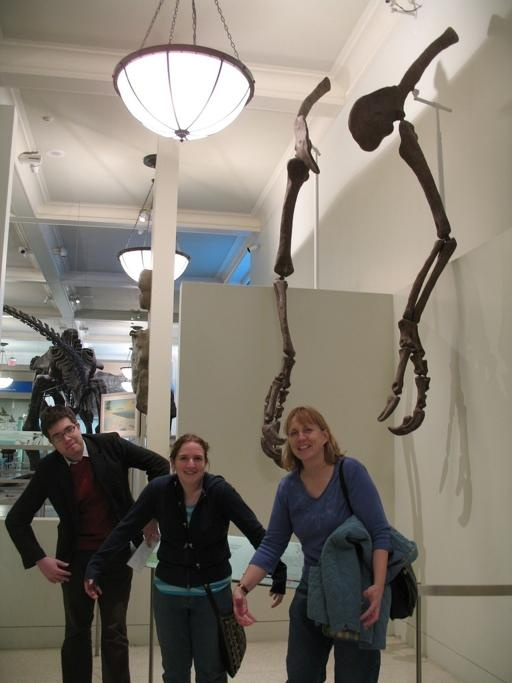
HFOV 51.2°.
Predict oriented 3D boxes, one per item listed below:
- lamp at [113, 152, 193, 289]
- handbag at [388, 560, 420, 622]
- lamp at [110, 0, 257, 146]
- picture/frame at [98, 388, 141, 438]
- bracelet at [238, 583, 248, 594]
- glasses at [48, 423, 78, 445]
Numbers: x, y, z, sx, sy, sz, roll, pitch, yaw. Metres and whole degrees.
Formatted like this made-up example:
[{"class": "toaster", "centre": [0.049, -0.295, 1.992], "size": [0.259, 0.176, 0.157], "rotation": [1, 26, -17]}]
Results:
[{"class": "lamp", "centre": [-1.480, -1.346, 7.575], "size": [0.894, 1.737, 3.821], "rotation": [2, -7, -13]}, {"class": "handbag", "centre": [0.467, 0.795, 1.775], "size": [0.069, 0.206, 0.197], "rotation": [7, -9, -1]}, {"class": "lamp", "centre": [-0.570, -2.142, 4.149], "size": [0.789, 1.196, 0.773], "rotation": [-9, -25, 21]}, {"class": "picture/frame", "centre": [-1.322, 0.671, 5.099], "size": [0.331, 0.415, 0.043], "rotation": [0, 21, -15]}, {"class": "bracelet", "centre": [-0.047, 0.843, 1.864], "size": [0.013, 0.038, 0.031], "rotation": [-32, -2, -33]}, {"class": "glasses", "centre": [-0.856, 0.407, 2.376], "size": [0.123, 0.090, 0.110], "rotation": [3, -8, -20]}]
